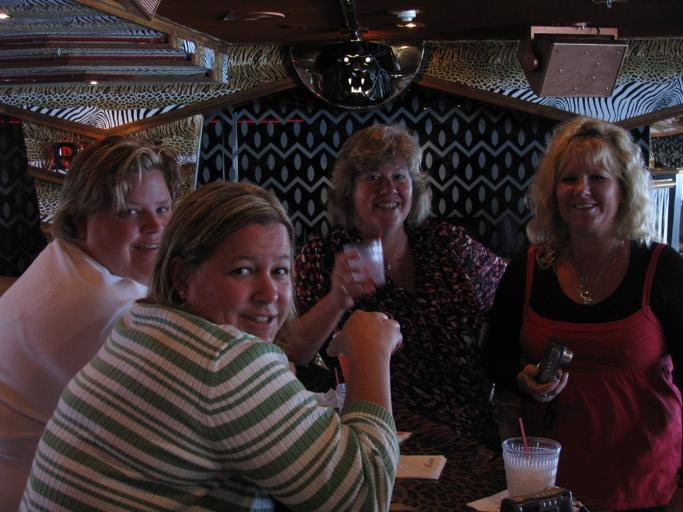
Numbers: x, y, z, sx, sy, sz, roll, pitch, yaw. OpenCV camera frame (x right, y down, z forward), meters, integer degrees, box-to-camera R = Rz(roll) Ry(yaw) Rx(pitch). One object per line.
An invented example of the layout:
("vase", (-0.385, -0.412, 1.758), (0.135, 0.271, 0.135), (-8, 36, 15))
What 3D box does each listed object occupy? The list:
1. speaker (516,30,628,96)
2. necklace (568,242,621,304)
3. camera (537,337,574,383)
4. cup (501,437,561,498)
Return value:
("speaker", (1.449, -1.148, 3.583), (0.628, 0.434, 0.424), (0, 20, -12))
("necklace", (0.981, 0.097, 2.105), (0.101, 0.349, 0.088), (10, -12, 19))
("camera", (0.752, 0.388, 1.957), (0.119, 0.156, 0.110), (23, -8, -11))
("cup", (0.482, 0.545, 1.453), (0.145, 0.149, 0.155), (0, -5, 0))
